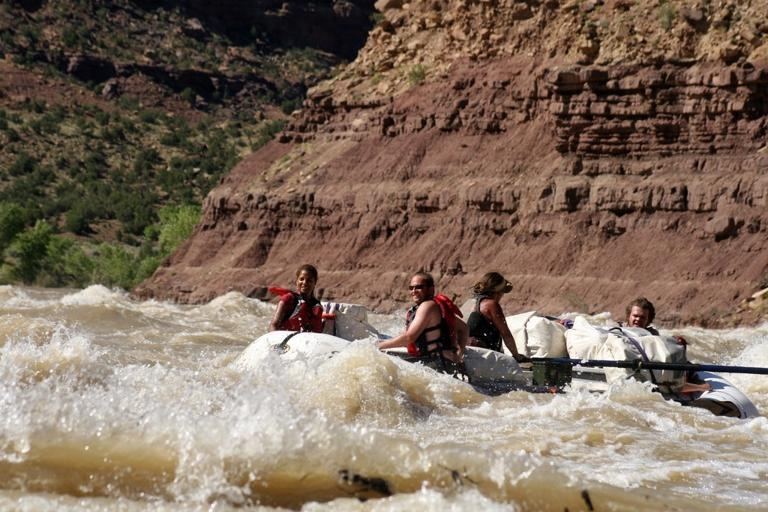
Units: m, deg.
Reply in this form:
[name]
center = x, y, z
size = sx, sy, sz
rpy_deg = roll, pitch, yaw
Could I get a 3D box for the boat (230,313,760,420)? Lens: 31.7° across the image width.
[boat]
center = 7.956, 6.269, 72.536
size = 17.931, 2.776, 10.283
rpy_deg = 4, -1, -7

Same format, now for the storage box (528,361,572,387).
[storage box]
center = 9.015, 6.434, 72.538
size = 1.593, 1.013, 1.598
rpy_deg = -2, -4, 37
